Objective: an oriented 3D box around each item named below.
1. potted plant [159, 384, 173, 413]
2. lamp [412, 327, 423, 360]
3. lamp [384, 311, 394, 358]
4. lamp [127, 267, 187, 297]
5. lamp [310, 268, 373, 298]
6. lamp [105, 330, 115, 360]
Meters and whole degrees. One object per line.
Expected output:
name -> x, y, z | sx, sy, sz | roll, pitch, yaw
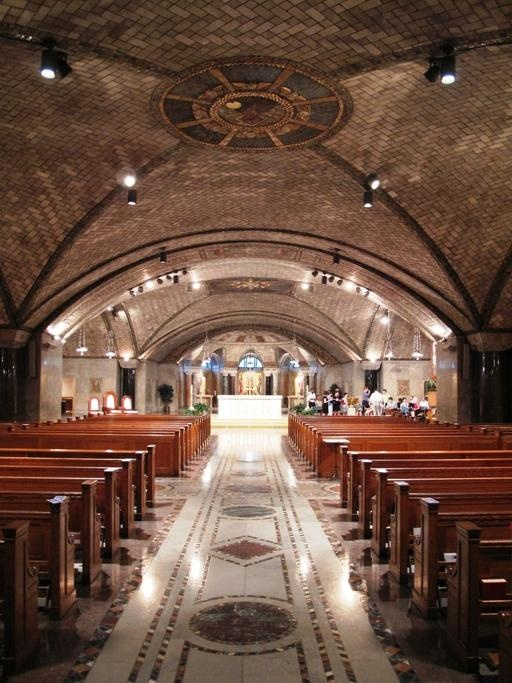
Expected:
potted plant -> -4.708, 3.015, 28.749 | 0.732, 1.415, 0.599 | 0, -3, -21
lamp -> 6.936, 0.132, 23.822 | 0.440, 1.297, 2.492 | -2, -3, 16
lamp -> 5.719, -0.010, 24.026 | 0.467, 1.595, 1.800 | -2, -3, 14
lamp -> -3.118, -1.947, 18.711 | 2.021, 0.817, 2.725 | -2, -2, 12
lamp -> 2.836, -1.933, 18.569 | 1.968, 0.905, 3.353 | -1, -2, 5
lamp -> -6.496, 0.192, 24.508 | 0.441, 1.153, 1.051 | -1, -3, -14
